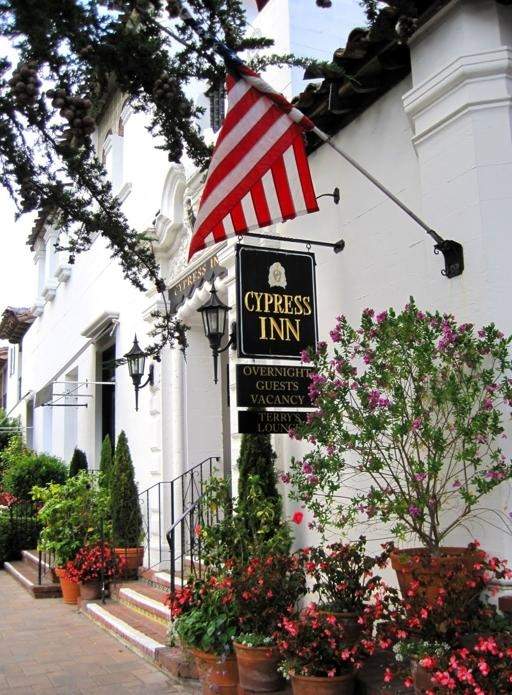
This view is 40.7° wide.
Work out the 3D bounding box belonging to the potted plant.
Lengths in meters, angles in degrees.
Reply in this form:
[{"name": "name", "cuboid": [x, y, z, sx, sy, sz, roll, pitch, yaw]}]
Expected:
[{"name": "potted plant", "cuboid": [-2.305, 2.348, 9.707, 1.344, 2.395, 2.448, 4, -15, -22]}]
